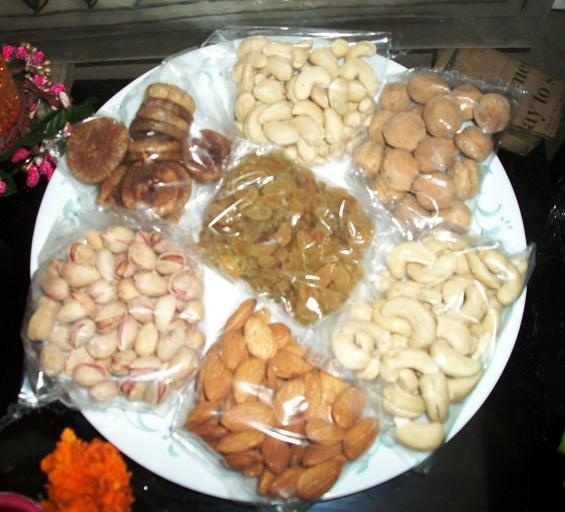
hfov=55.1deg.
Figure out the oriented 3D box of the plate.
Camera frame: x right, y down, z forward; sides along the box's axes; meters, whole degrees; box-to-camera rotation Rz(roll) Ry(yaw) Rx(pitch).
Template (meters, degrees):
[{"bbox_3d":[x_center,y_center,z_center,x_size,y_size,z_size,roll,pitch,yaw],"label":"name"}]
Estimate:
[{"bbox_3d":[-0.067,0.135,1.210,0.785,0.122,0.853,34,83,1],"label":"plate"}]
